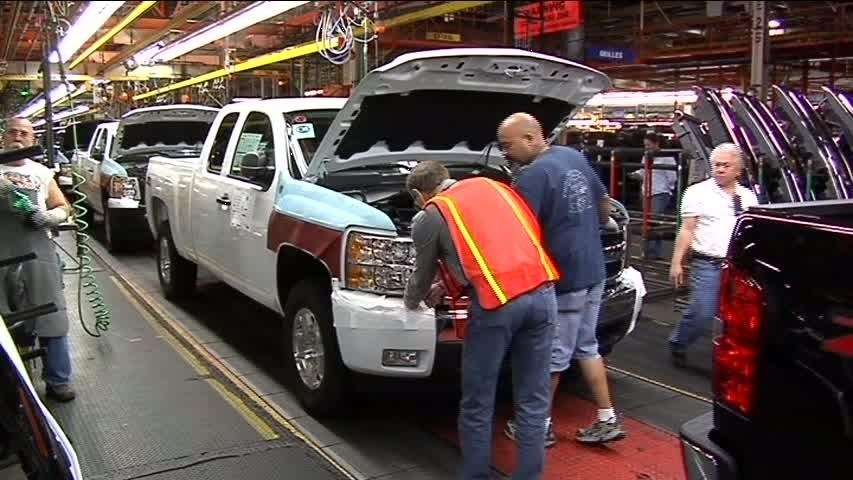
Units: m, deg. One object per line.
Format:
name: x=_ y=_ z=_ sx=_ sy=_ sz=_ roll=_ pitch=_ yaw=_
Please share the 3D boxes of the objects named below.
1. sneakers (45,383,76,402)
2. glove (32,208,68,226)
sneakers: x=-3.796 y=1.591 z=5.309 sx=0.400 sy=0.134 sz=0.131 roll=7 pitch=5 yaw=13
glove: x=-3.669 y=-0.222 z=5.014 sx=0.190 sy=0.178 sz=0.352 roll=4 pitch=8 yaw=10
